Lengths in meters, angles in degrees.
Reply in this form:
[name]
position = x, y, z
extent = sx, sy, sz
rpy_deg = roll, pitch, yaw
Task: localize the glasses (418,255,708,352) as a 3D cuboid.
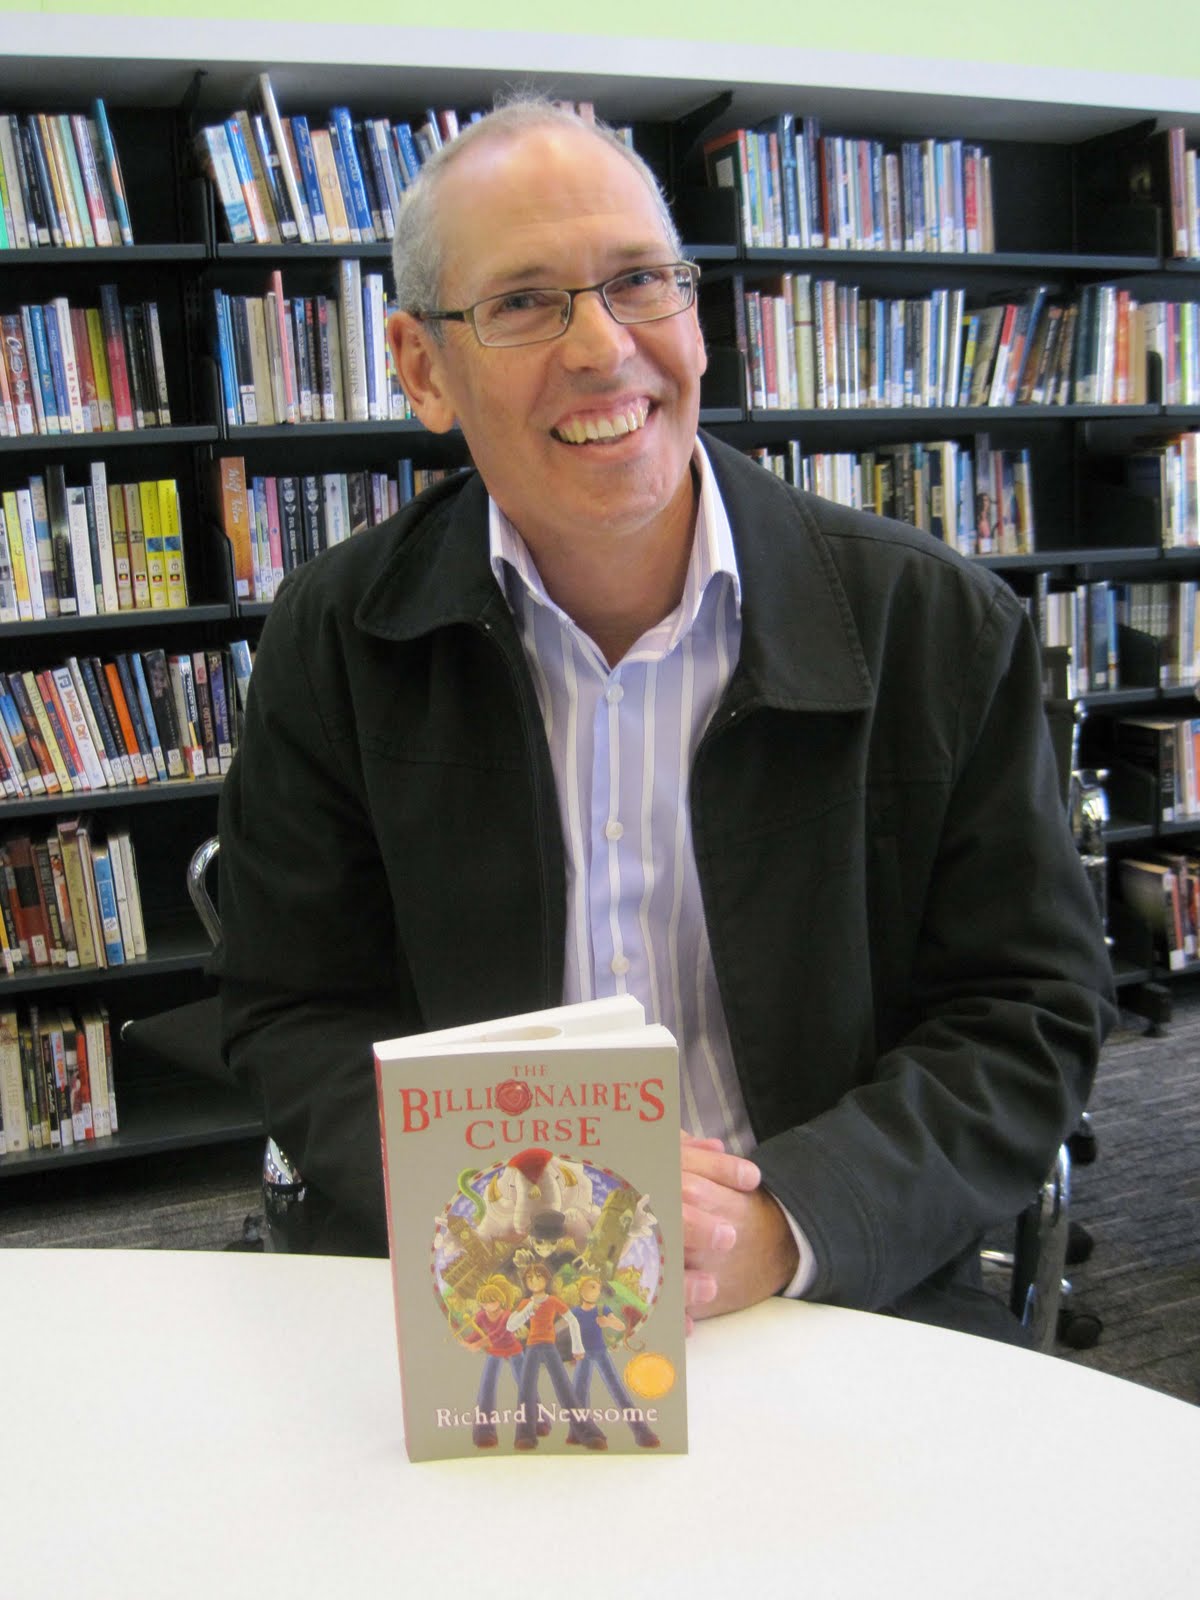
[glasses]
position = -0.044, -0.435, 1.174
extent = 0.262, 0.072, 0.133
rpy_deg = -5, 11, 3
